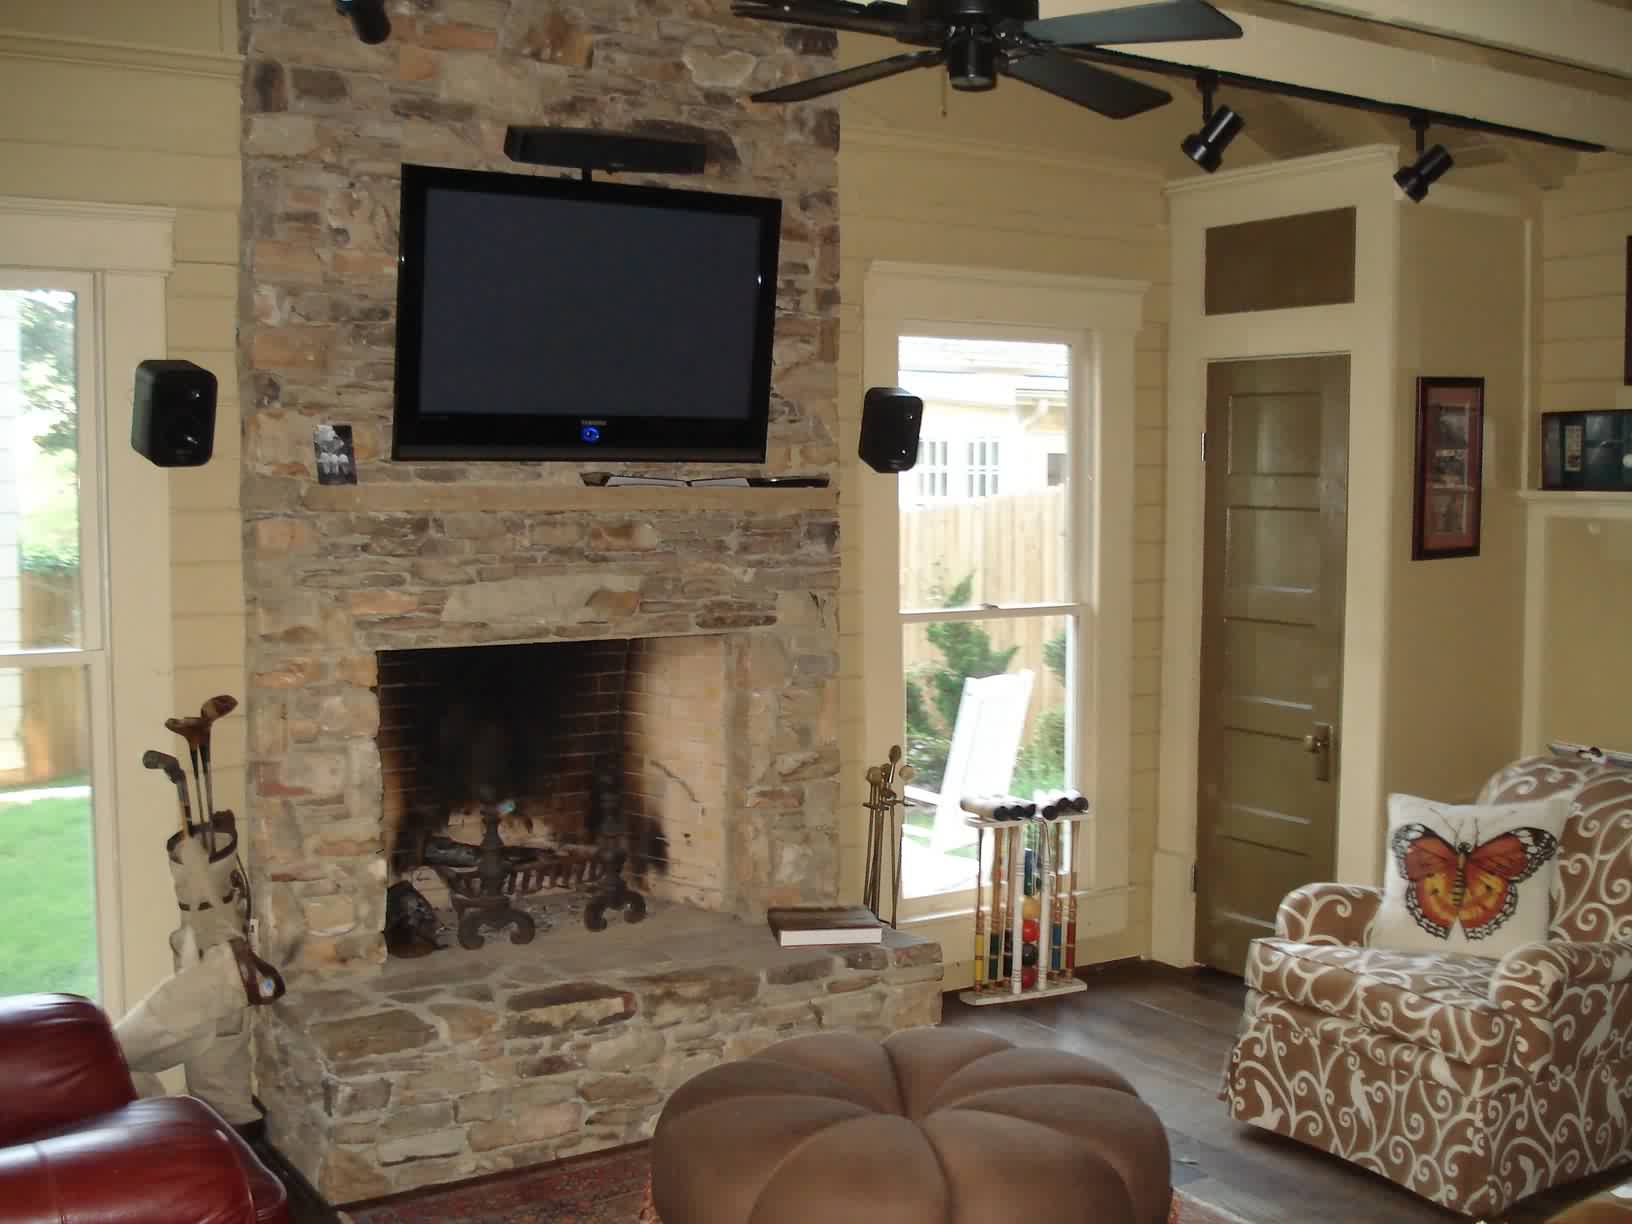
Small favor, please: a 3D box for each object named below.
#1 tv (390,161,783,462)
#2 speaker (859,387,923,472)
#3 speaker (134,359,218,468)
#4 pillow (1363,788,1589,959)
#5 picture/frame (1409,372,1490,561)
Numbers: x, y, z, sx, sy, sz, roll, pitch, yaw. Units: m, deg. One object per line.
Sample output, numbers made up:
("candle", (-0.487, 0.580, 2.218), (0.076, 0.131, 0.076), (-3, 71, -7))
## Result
("tv", (-0.752, -0.972, 4.301), (1.461, 0.909, 0.148), (-9, 23, -42))
("speaker", (0.219, -0.702, 4.862), (0.223, 0.344, 0.285), (8, 16, 37))
("speaker", (-1.911, -0.564, 3.884), (0.229, 0.238, 0.214), (-1, 4, -36))
("pillow", (2.143, 0.864, 4.153), (0.217, 0.529, 0.627), (23, -20, -32))
("picture/frame", (2.604, -0.586, 5.234), (0.462, 0.746, 0.085), (-4, 4, -38))
